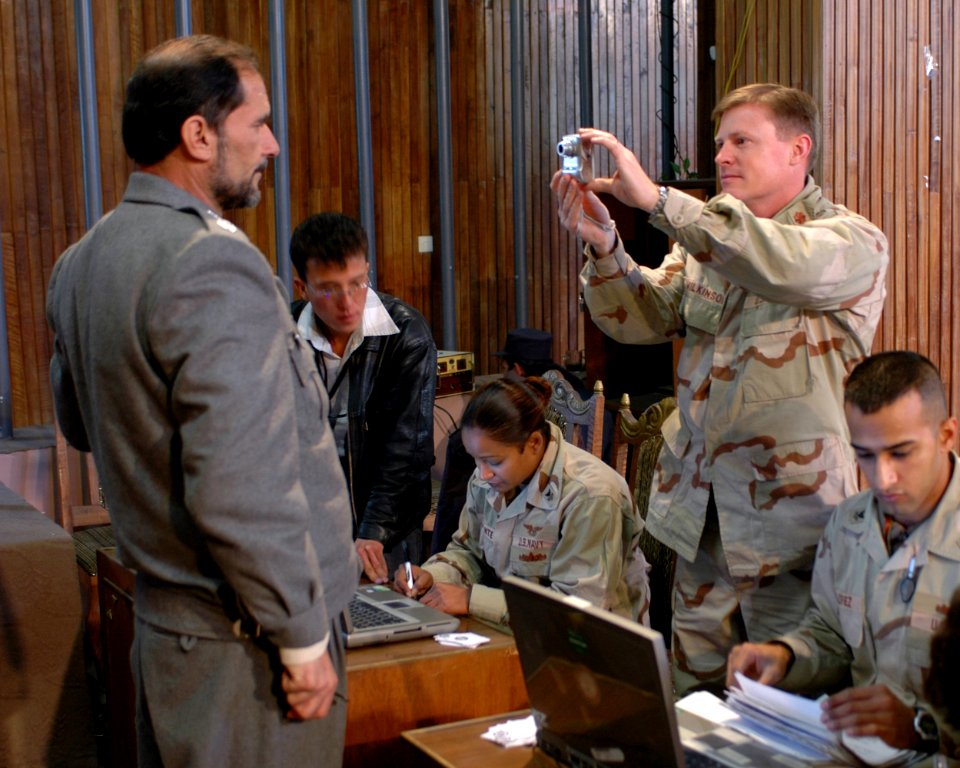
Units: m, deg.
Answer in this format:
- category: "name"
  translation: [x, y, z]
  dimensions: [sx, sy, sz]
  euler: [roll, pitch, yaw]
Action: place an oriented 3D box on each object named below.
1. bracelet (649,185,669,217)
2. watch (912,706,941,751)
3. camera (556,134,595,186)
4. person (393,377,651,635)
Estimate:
- category: "bracelet"
  translation: [0.401, -0.416, 2.102]
  dimensions: [0.038, 0.071, 0.060]
  euler: [18, 5, 1]
- category: "watch"
  translation: [0.818, 0.630, 1.692]
  dimensions: [0.061, 0.073, 0.061]
  euler: [-2, -21, 2]
- category: "camera"
  translation: [0.221, -0.546, 2.206]
  dimensions: [0.050, 0.107, 0.095]
  euler: [-3, -7, 27]
- category: "person"
  translation: [0.162, 0.204, 2.800]
  dimensions: [0.647, 1.051, 0.677]
  euler: [-8, 7, -32]
